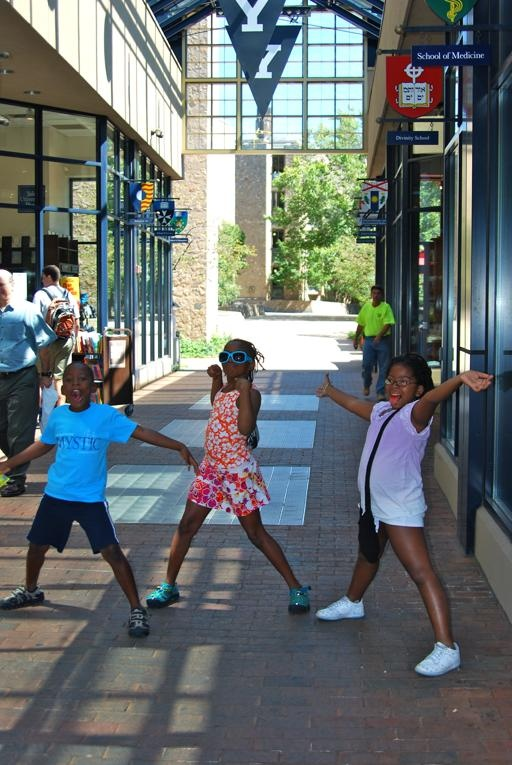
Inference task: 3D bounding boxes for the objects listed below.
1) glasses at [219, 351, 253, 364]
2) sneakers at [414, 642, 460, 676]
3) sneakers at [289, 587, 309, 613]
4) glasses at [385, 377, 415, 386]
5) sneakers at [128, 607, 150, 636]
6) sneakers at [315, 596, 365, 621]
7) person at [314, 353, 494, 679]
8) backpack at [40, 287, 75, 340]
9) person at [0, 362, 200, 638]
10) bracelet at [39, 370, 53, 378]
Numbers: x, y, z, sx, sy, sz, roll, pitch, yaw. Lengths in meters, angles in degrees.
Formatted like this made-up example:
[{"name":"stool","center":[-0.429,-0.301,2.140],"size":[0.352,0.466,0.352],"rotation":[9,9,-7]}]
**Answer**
[{"name":"glasses","center":[-0.096,-0.112,2.926],"size":[0.162,0.063,0.175],"rotation":[1,-3,-3]},{"name":"sneakers","center":[0.710,1.069,2.417],"size":[0.239,0.108,0.083],"rotation":[-3,3,-37]},{"name":"sneakers","center":[0.214,1.109,3.096],"size":[0.066,0.075,0.167],"rotation":[-2,-10,7]},{"name":"glasses","center":[0.565,-0.001,2.471],"size":[0.058,0.033,0.133],"rotation":[2,-3,-26]},{"name":"sneakers","center":[-0.528,1.089,2.768],"size":[0.055,0.063,0.150],"rotation":[1,-5,-2]},{"name":"sneakers","center":[0.419,1.106,3.059],"size":[0.278,0.128,0.093],"rotation":[0,14,-6]},{"name":"person","center":[0.624,0.508,2.461],"size":[0.353,1.236,0.860],"rotation":[2,-3,-33]},{"name":"backpack","center":[-2.538,-0.901,8.051],"size":[0.378,0.605,0.627],"rotation":[-8,22,-23]},{"name":"person","center":[-1.133,0.801,4.303],"size":[1.517,1.735,0.508],"rotation":[2,2,11]},{"name":"bracelet","center":[-2.300,-0.084,6.723],"size":[0.108,0.071,0.117],"rotation":[10,-10,-44]}]
